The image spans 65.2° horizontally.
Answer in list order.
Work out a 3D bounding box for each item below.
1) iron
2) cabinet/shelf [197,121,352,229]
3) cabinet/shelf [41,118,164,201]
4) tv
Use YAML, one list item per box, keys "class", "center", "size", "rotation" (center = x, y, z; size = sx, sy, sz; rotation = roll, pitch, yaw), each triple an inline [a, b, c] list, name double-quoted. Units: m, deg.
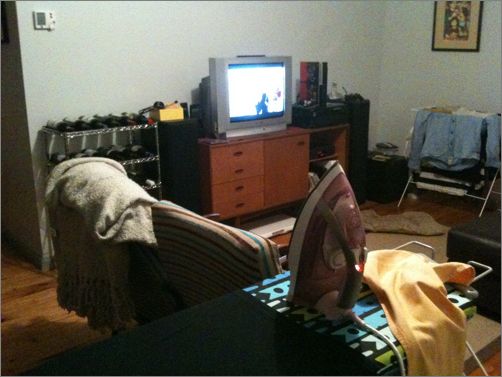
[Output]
- class: "iron"
  center: [0.229, 0.140, 1.114]
  size: [0.186, 0.402, 0.238]
  rotation: [-6, 21, -29]
- class: "cabinet/shelf"
  center: [0.077, -0.163, 3.682]
  size: [1.651, 0.935, 0.652]
  rotation: [-12, 22, -36]
- class: "cabinet/shelf"
  center: [-1.180, -0.374, 3.259]
  size: [0.931, 0.606, 0.473]
  rotation: [-15, 25, -40]
- class: "tv"
  center: [-0.004, -0.875, 3.693]
  size: [0.895, 0.712, 0.190]
  rotation: [-15, 23, -31]
